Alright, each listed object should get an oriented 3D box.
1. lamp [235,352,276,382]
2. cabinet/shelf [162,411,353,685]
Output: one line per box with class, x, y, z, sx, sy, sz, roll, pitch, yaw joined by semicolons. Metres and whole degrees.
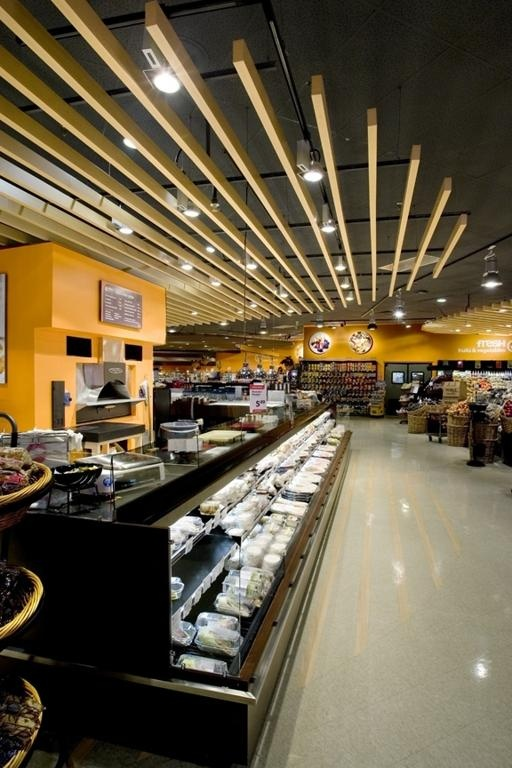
lamp;-0.114;-0.659;16.440;0.704;0.999;1.637;-1;1;17
cabinet/shelf;0.068;0.835;3.338;0.540;0.625;2.757;3;5;15
